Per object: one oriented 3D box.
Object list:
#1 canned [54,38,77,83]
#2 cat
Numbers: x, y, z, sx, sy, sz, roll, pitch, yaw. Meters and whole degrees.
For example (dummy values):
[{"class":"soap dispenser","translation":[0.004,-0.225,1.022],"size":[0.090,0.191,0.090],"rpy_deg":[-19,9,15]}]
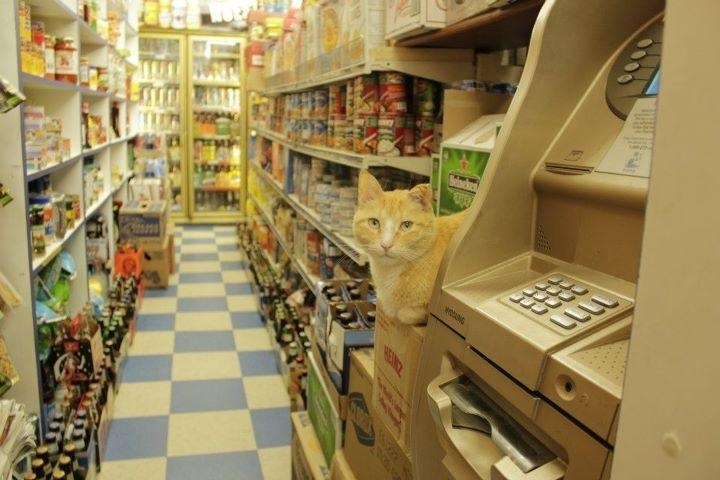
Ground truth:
[{"class":"canned","translation":[-2.033,-1.241,3.385],"size":[0.162,0.277,0.164],"rpy_deg":[13,20,11]},{"class":"cat","translation":[0.219,-0.006,1.840],"size":[0.254,0.538,0.756],"rpy_deg":[6,17,24]}]
